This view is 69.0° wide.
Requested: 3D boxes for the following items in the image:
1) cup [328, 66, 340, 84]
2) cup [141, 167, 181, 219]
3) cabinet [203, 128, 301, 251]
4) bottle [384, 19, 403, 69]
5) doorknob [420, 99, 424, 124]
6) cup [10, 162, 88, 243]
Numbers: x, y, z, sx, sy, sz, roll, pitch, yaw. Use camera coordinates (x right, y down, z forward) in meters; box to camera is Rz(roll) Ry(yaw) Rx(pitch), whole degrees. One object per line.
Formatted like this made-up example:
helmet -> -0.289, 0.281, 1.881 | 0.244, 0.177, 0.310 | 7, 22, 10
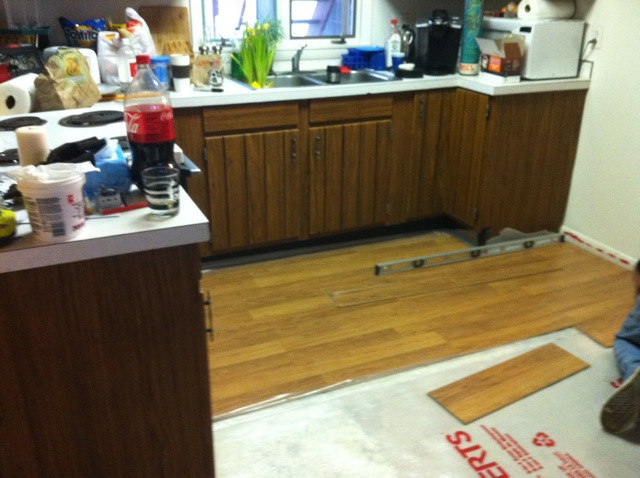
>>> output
cup -> 0.104, -1.100, 3.148 | 0.114, 0.109, 0.106 | 1, 24, 0
cup -> -0.396, -0.118, 1.215 | 0.105, 0.112, 0.127 | 2, 9, 12
cabinet -> -0.423, -0.441, 3.223 | 0.796, 0.988, 0.697 | -8, 25, -19
bottle -> 0.534, -1.419, 3.403 | 0.131, 0.297, 0.115 | -6, 33, -4
doorknob -> 0.687, -0.853, 3.141 | 0.034, 0.158, 0.025 | -11, 28, -17
cup -> -0.619, -0.085, 1.086 | 0.155, 0.150, 0.146 | 0, 17, 0
